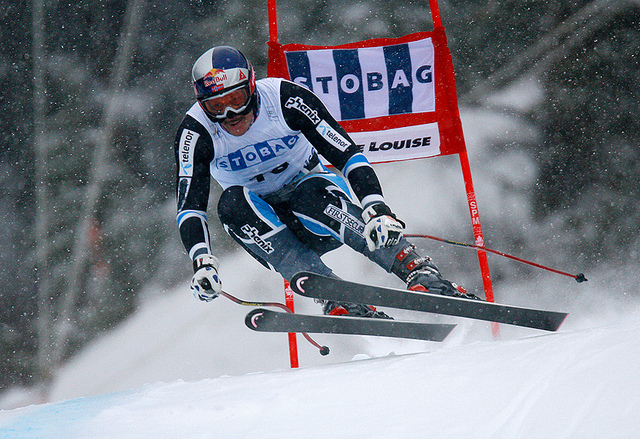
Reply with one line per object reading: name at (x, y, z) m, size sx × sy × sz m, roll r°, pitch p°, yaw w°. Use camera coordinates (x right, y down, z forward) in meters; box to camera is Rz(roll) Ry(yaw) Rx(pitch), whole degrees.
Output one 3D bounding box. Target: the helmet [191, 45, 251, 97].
helmet at (-1.069, -1.610, 8.814) m, size 0.457 × 0.599 × 0.534 m, roll -17°, pitch 53°, yaw -2°
